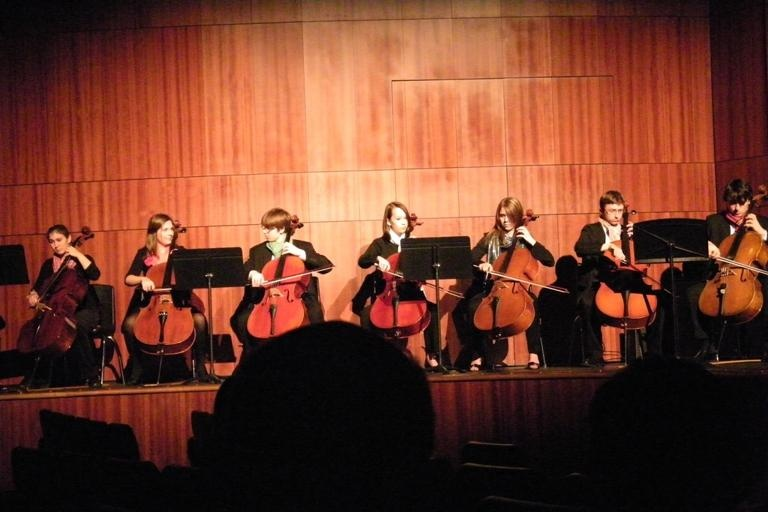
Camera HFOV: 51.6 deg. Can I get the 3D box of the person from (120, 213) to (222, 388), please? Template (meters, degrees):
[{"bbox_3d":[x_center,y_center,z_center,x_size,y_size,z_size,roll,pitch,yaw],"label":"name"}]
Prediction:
[{"bbox_3d":[-2.319,0.594,8.342,0.817,2.025,0.602,-2,-27,-13],"label":"person"}]

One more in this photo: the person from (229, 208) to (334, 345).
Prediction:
[{"bbox_3d":[-1.116,0.003,8.496,0.994,1.786,0.592,-4,-33,-2],"label":"person"}]

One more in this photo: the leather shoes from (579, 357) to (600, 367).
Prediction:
[{"bbox_3d":[2.209,1.140,8.512,0.253,0.097,0.085,-4,-6,39],"label":"leather shoes"}]

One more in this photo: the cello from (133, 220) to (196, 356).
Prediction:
[{"bbox_3d":[-2.216,0.337,8.364,0.599,1.458,0.569,-5,-35,2],"label":"cello"}]

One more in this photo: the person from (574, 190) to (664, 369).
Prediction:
[{"bbox_3d":[2.389,0.182,8.348,0.868,1.883,0.663,0,-46,16],"label":"person"}]

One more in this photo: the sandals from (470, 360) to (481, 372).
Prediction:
[{"bbox_3d":[0.963,1.168,8.418,0.078,0.059,0.144,-14,11,25],"label":"sandals"}]
